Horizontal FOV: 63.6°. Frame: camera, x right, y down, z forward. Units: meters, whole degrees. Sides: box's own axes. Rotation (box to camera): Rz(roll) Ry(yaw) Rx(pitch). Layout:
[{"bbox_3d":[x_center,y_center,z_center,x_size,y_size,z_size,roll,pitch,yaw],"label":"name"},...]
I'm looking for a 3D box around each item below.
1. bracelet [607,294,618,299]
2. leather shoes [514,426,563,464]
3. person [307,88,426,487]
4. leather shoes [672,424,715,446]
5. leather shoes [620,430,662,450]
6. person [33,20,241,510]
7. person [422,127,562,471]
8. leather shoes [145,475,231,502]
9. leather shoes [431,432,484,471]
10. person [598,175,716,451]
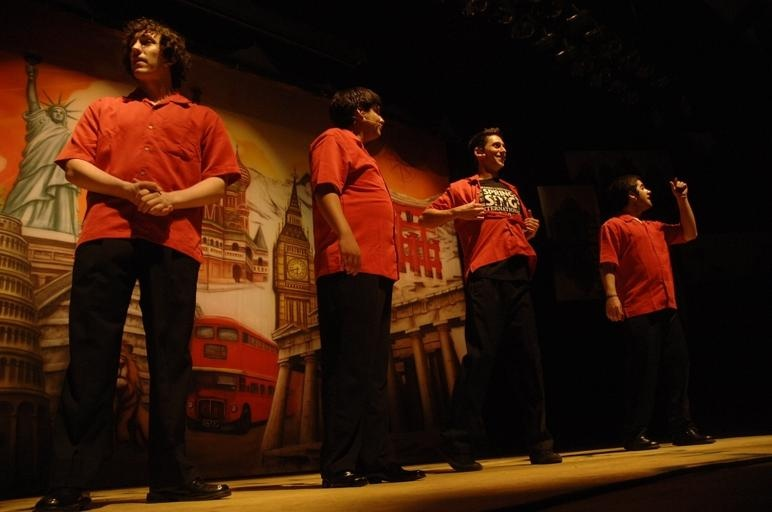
[{"bbox_3d":[1.540,0.275,4.229,0.066,0.032,0.033,3,-16,-14],"label":"bracelet"},{"bbox_3d":[0.885,1.083,3.506,0.181,0.173,0.144,-4,-16,12],"label":"leather shoes"},{"bbox_3d":[-0.160,0.236,3.220,0.379,1.814,0.603,-11,-19,31],"label":"person"},{"bbox_3d":[1.988,1.166,4.032,0.252,0.121,0.234,-7,-16,20],"label":"leather shoes"},{"bbox_3d":[1.658,1.210,4.054,0.226,0.096,0.099,-9,-13,25],"label":"leather shoes"},{"bbox_3d":[-1.161,-0.042,2.971,0.819,2.355,0.392,3,-16,-13],"label":"person"},{"bbox_3d":[0.599,0.177,3.758,0.722,2.121,0.396,5,-17,-22],"label":"person"},{"bbox_3d":[-0.897,1.067,2.886,0.388,0.148,0.135,-3,-8,-9],"label":"leather shoes"},{"bbox_3d":[0.420,1.111,3.539,0.251,0.213,0.158,-6,-16,19],"label":"leather shoes"},{"bbox_3d":[1.852,0.442,4.249,0.657,1.679,0.369,-6,-17,18],"label":"person"}]
